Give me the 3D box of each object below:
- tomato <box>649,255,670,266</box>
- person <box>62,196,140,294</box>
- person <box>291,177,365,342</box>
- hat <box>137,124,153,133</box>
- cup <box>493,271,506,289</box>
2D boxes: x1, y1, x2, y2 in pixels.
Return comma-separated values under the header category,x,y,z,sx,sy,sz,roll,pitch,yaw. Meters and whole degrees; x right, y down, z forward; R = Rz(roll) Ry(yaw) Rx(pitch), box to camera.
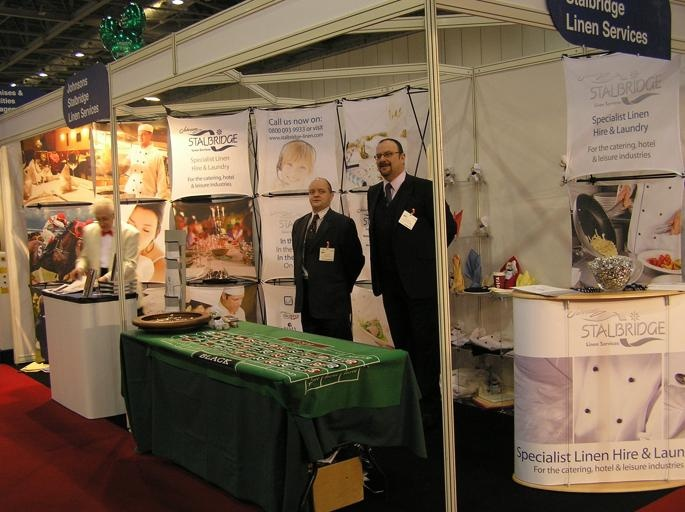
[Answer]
category,x,y,z,sx,sy,sz,roll,pitch,yaw
tomato,2.596,0.040,4.574,0.101,0.058,0.094,-5,3,-40
person,-2.400,-0.128,5.745,0.648,0.891,1.104,-7,8,-33
person,-0.139,0.031,5.351,0.667,1.530,0.353,-3,7,-4
hat,-2.067,-1.334,5.906,0.091,0.063,0.095,3,10,6
cup,1.424,0.225,5.073,0.121,0.190,0.125,-1,0,0
